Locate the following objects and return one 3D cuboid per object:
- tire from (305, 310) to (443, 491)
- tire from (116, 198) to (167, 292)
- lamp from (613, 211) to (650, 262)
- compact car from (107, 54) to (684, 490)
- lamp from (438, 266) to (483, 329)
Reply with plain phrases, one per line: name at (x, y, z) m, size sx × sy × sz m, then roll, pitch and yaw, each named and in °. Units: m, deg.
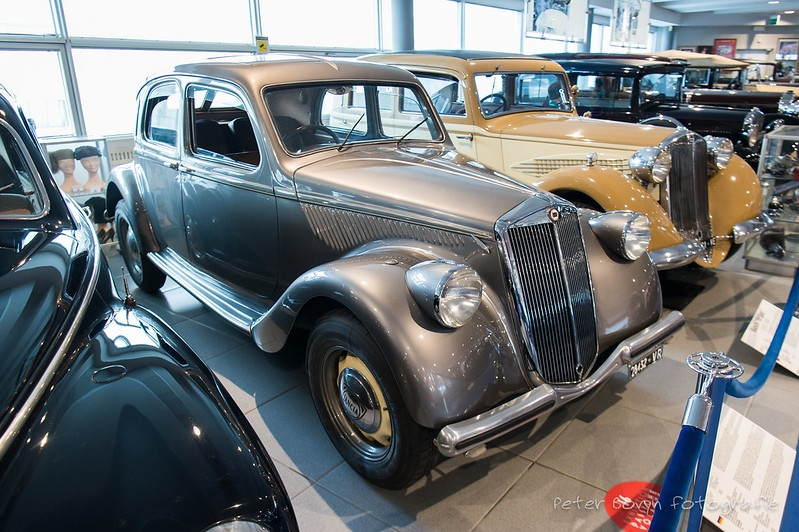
tire at (-0.114, 0.716, 2.499) m, size 0.269 × 0.748 × 0.743 m, roll -27°, pitch 74°, yaw -32°
tire at (-2.324, -0.208, 4.244) m, size 0.160 × 0.670 × 0.662 m, roll -20°, pitch 45°, yaw -32°
lamp at (1.479, -0.182, 3.032) m, size 0.109 × 0.284 × 0.216 m, roll 11°, pitch 21°, yaw 42°
compact car at (-0.555, -0.418, 3.724) m, size 4.274 × 1.909 × 2.280 m, roll 19°, pitch 30°, yaw 37°
lamp at (0.262, 0.160, 2.409) m, size 0.287 × 0.284 × 0.095 m, roll -11°, pitch 26°, yaw -42°
